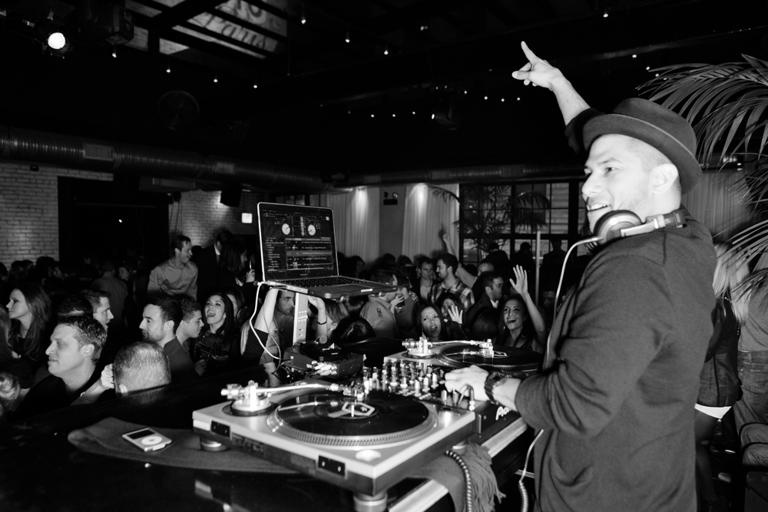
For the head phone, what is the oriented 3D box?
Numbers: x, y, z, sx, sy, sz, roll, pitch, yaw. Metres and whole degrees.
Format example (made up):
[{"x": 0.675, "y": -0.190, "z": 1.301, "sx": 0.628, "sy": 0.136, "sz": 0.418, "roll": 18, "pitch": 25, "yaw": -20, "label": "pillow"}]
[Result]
[{"x": 0.955, "y": -0.124, "z": 2.317, "sx": 0.208, "sy": 0.079, "sz": 0.180, "roll": -17, "pitch": 5, "yaw": 26, "label": "head phone"}]

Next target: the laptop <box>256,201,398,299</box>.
[{"x": -0.250, "y": -0.034, "z": 2.807, "sx": 0.550, "sy": 0.381, "sz": 0.531, "roll": 7, "pitch": 5, "yaw": 34, "label": "laptop"}]

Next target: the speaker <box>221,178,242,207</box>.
[{"x": -2.271, "y": -0.926, "z": 9.027, "sx": 0.265, "sy": 0.388, "sz": 0.586, "roll": 1, "pitch": 0, "yaw": -17, "label": "speaker"}]

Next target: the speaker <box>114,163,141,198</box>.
[{"x": -3.986, "y": -1.169, "z": 9.355, "sx": 0.158, "sy": 0.429, "sz": 0.606, "roll": 3, "pitch": 3, "yaw": 21, "label": "speaker"}]

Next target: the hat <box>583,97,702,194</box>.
[{"x": 1.045, "y": -0.524, "z": 2.431, "sx": 0.385, "sy": 0.167, "sz": 0.464, "roll": 18, "pitch": 7, "yaw": -24, "label": "hat"}]
